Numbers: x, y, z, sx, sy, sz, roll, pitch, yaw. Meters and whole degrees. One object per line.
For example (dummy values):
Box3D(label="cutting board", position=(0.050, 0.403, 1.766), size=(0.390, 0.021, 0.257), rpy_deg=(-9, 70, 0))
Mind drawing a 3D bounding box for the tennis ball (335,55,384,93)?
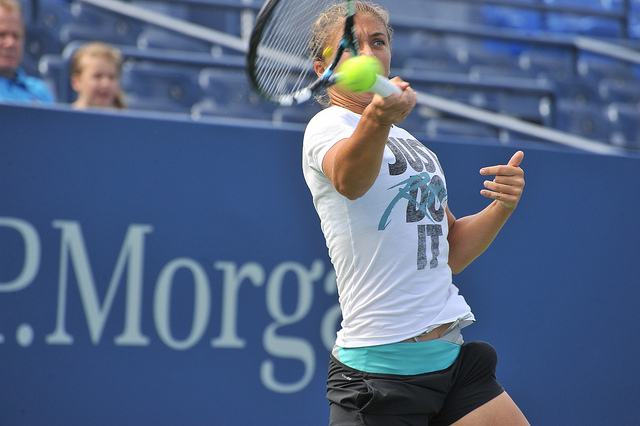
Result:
Box3D(label="tennis ball", position=(0.180, -0.643, 5.347), size=(0.210, 0.163, 0.172), rpy_deg=(10, -3, 1))

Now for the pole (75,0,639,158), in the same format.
Box3D(label="pole", position=(0.182, -0.742, 6.587), size=(3.115, 0.358, 0.141), rpy_deg=(18, 9, -11))

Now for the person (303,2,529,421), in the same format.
Box3D(label="person", position=(0.402, 0.025, 5.730), size=(1.179, 1.838, 0.610), rpy_deg=(12, -3, -29))
